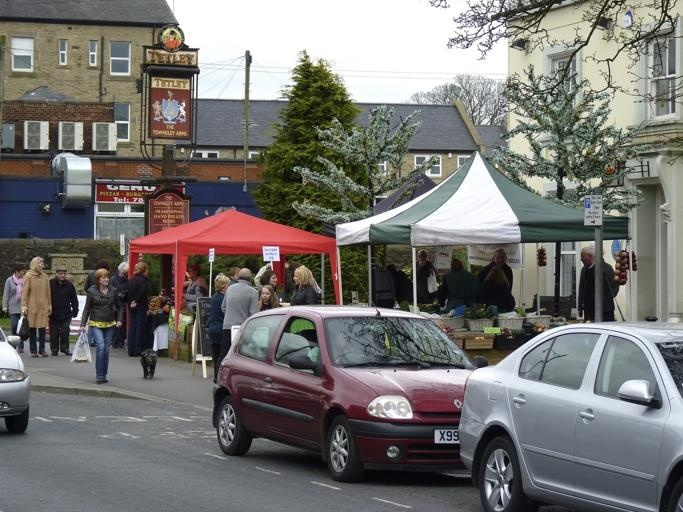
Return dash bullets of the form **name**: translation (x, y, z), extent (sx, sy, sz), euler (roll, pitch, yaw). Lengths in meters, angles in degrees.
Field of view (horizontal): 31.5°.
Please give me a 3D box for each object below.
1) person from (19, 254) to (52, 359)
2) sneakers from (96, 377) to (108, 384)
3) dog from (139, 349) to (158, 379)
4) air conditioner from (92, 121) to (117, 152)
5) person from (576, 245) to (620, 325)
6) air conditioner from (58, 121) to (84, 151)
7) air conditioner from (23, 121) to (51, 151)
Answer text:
- **person**: translation (-6.895, 1.172, 27.389), extent (0.660, 2.269, 1.532), euler (0, 0, -14)
- **sneakers**: translation (-4.611, 2.399, 23.360), extent (0.228, 0.130, 0.265), euler (1, -1, -19)
- **dog**: translation (-3.854, 2.163, 24.204), extent (0.277, 0.570, 0.602), euler (0, 0, -8)
- **air conditioner**: translation (-10.486, -5.222, 53.354), extent (1.379, 1.549, 0.619), euler (0, 0, -28)
- **person**: translation (4.755, 0.533, 22.539), extent (0.700, 1.242, 2.241), euler (0, -1, 11)
- **air conditioner**: translation (-11.805, -5.150, 52.672), extent (1.297, 1.418, 0.499), euler (1, -4, -20)
- **air conditioner**: translation (-13.246, -5.199, 52.576), extent (1.069, 1.285, 0.467), euler (1, 0, -15)
